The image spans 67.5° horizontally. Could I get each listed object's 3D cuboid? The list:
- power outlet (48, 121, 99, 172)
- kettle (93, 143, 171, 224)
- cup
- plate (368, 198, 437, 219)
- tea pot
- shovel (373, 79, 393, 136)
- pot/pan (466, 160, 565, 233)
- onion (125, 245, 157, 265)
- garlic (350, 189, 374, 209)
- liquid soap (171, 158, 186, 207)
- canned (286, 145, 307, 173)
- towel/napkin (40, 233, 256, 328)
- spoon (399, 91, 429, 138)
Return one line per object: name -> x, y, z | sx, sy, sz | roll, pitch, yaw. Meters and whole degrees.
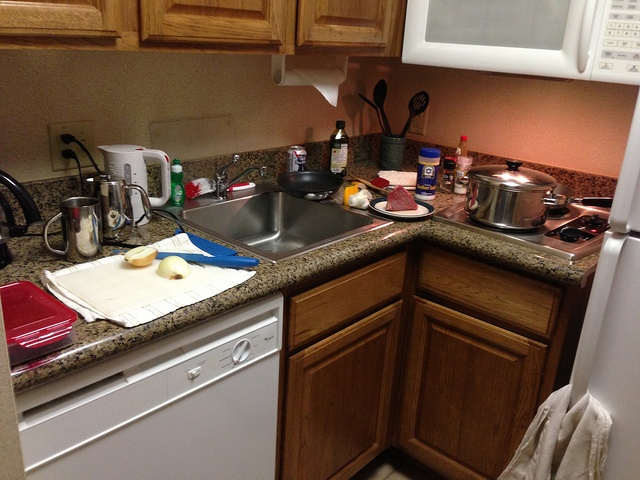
power outlet -> -0.798, -0.306, 1.555 | 0.021, 0.156, 0.156 | 17, 26, 40
kettle -> -0.605, -0.231, 1.606 | 0.194, 0.300, 0.193 | 20, 25, 31
cup -> -0.646, -0.036, 1.327 | 0.171, 0.187, 0.141 | 25, 25, 39
plate -> 0.311, -0.118, 1.819 | 0.243, 0.034, 0.197 | 2, 20, 5
tea pot -> -0.597, -0.119, 1.480 | 0.238, 0.246, 0.140 | -8, 29, -30
shovel -> 0.307, -0.672, 2.316 | 0.069, 0.349, 0.051 | -8, -11, 6
pot/pan -> 0.632, -0.178, 1.699 | 0.331, 0.249, 0.286 | -17, 29, -40
onion -> -0.491, 0.039, 1.300 | 0.060, 0.024, 0.051 | -20, 42, -30
garlic -> 0.147, -0.152, 1.814 | 0.060, 0.040, 0.082 | 7, 40, 20
liquid soap -> -0.527, -0.218, 1.754 | 0.058, 0.164, 0.142 | -5, 21, -16
canned -> -0.100, -0.343, 2.063 | 0.084, 0.107, 0.121 | -2, 20, -7
towel/napkin -> -0.443, 0.096, 1.258 | 0.361, 0.053, 0.437 | 17, 26, 39
spoon -> 0.458, -0.599, 2.294 | 0.123, 0.212, 0.252 | 5, 20, 12
